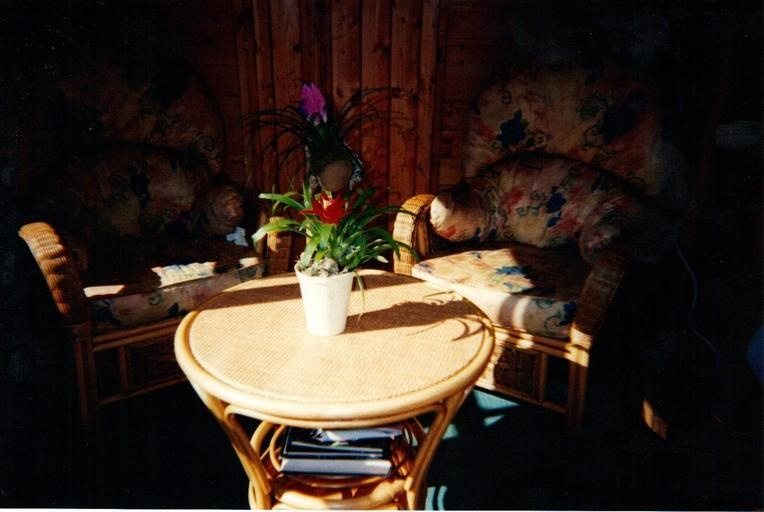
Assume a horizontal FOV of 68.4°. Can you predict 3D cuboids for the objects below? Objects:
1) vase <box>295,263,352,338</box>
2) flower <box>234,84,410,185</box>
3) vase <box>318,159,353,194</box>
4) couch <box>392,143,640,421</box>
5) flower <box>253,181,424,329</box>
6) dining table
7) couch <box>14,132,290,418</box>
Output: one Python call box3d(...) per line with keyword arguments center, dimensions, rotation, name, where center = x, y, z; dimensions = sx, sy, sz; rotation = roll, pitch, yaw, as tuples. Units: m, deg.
box3d(center=(-0.219, 0.173, 2.293), dimensions=(0.246, 0.258, 0.265), rotation=(1, 9, -4), name="vase")
box3d(center=(-0.252, -0.413, 2.248), dimensions=(0.438, 0.272, 0.533), rotation=(0, -9, 23), name="flower")
box3d(center=(-0.178, -0.306, 2.203), dimensions=(0.122, 0.084, 0.123), rotation=(-13, 11, -4), name="vase")
box3d(center=(0.792, 0.089, 3.162), dimensions=(1.175, 1.161, 1.060), rotation=(12, 27, 30), name="couch")
box3d(center=(-0.185, -0.011, 2.440), dimensions=(0.649, 0.580, 0.660), rotation=(5, 1, -2), name="flower")
box3d(center=(-0.163, 0.646, 2.339), dimensions=(0.992, 0.745, 0.996), rotation=(-1, 29, -2), name="dining table")
box3d(center=(-1.193, -0.073, 3.361), dimensions=(1.293, 1.538, 1.282), rotation=(-9, 17, -31), name="couch")
